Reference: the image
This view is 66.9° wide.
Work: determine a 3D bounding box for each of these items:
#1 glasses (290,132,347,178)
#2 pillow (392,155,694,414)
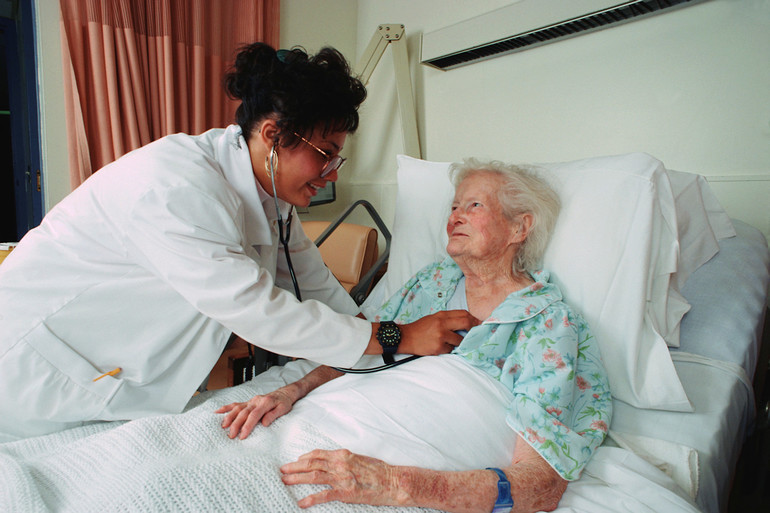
[{"bbox_3d":[-0.230,-0.347,2.064,0.136,0.042,0.133,39,6,11],"label":"glasses"},{"bbox_3d":[0.579,0.118,2.015,0.812,0.611,0.207,4,-9,25],"label":"pillow"}]
